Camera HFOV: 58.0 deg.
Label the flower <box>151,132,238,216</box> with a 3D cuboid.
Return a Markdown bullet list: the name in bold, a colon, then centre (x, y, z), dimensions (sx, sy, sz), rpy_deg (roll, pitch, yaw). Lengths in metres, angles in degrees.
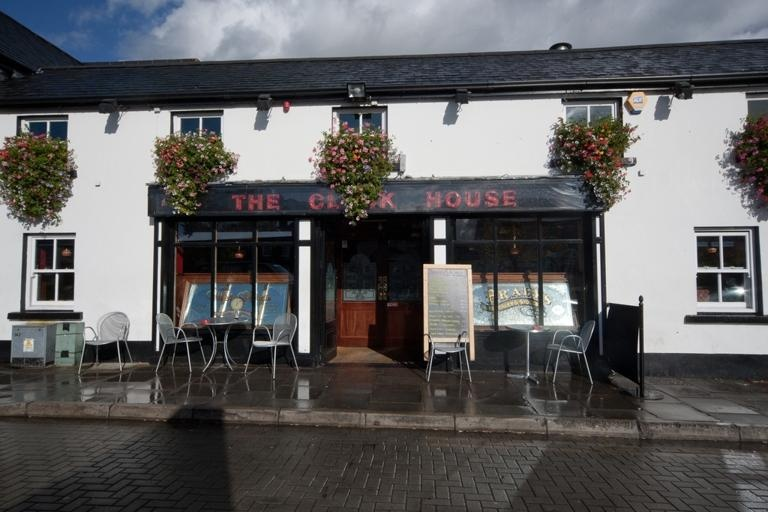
- **flower**: centre (-4.331, -1.885, 15.900), dimensions (1.679, 1.817, 0.689), rpy_deg (-5, 12, -23)

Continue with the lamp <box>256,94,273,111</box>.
- **lamp**: centre (-2.743, -3.535, 15.957), dimensions (0.288, 0.384, 0.393), rpy_deg (0, 6, 1)

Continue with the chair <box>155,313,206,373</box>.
- **chair**: centre (-4.657, 1.884, 15.731), dimensions (0.938, 1.459, 0.926), rpy_deg (0, -3, 1)

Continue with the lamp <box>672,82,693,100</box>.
- **lamp**: centre (6.671, -3.678, 15.433), dimensions (0.426, 0.374, 0.227), rpy_deg (3, 12, 12)

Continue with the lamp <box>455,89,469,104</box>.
- **lamp**: centre (1.759, -3.629, 15.774), dimensions (0.323, 0.327, 0.242), rpy_deg (0, 3, 1)

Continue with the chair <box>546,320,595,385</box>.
- **chair**: centre (3.970, 2.035, 14.835), dimensions (0.868, 1.283, 0.797), rpy_deg (4, -1, 0)

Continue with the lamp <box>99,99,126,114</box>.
- **lamp**: centre (-6.363, -3.477, 16.176), dimensions (0.437, 0.214, 0.323), rpy_deg (1, 0, -6)

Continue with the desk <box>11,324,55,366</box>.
- **desk**: centre (-8.152, 1.921, 16.045), dimensions (0.724, 0.978, 0.937), rpy_deg (3, 15, -24)

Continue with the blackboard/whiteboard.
- **blackboard/whiteboard**: centre (1.429, 1.010, 15.737), dimensions (1.001, 1.645, 0.754), rpy_deg (-2, 1, 0)

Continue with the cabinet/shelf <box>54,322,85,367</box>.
- **cabinet/shelf**: centre (-7.318, 2.064, 16.157), dimensions (0.651, 0.941, 0.634), rpy_deg (5, -6, -37)

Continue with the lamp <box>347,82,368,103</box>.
- **lamp**: centre (-0.620, -3.737, 15.895), dimensions (0.645, 0.622, 0.334), rpy_deg (-1, 3, -3)

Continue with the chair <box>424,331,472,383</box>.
- **chair**: centre (1.460, 2.111, 15.300), dimensions (1.132, 1.365, 0.978), rpy_deg (1, -29, -1)
